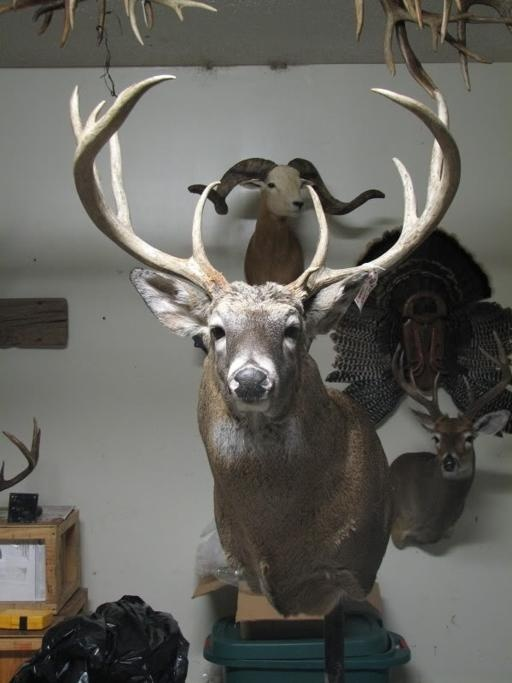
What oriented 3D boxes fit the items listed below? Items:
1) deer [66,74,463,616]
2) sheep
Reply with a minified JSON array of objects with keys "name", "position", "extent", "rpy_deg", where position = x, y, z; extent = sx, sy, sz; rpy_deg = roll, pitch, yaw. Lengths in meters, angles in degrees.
[{"name":"deer","position":[0.138,0.116,2.582],"extent":[0.936,1.653,1.241],"rpy_deg":[-3,-3,34]},{"name":"sheep","position":[0.111,-0.436,3.143],"extent":[0.684,0.418,0.281],"rpy_deg":[-1,0,-18]}]
